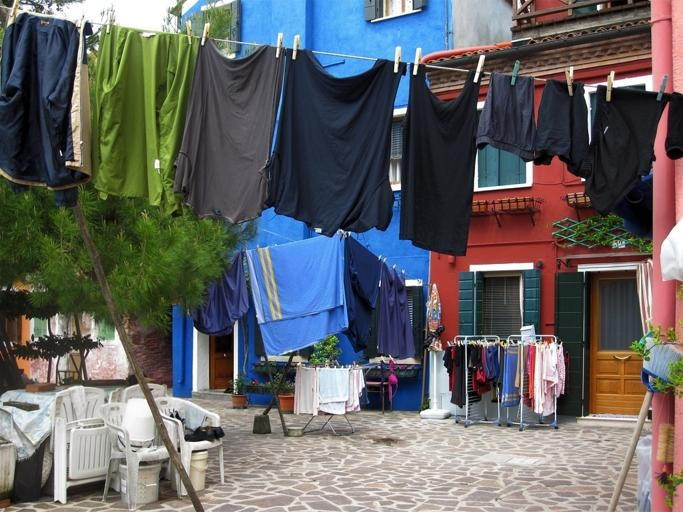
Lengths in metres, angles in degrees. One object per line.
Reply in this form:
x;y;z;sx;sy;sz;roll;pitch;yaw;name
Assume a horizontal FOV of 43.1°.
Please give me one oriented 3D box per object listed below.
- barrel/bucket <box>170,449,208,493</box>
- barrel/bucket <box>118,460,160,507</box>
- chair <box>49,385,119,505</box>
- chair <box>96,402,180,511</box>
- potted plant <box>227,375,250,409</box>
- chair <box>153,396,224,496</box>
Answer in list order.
-1.945;2.781;11.120;0.404;0.549;0.450;0;-2;-10;barrel/bucket
-2.502;2.834;10.825;0.411;0.450;0.457;-3;-7;25;barrel/bucket
-3.260;2.465;10.962;0.771;1.734;1.059;-3;-3;29;chair
-2.695;2.528;10.952;1.017;1.779;0.988;-7;-10;40;chair
-2.176;3.032;18.997;0.434;0.988;0.454;-8;-11;39;potted plant
-1.991;2.522;11.668;0.948;1.569;0.970;-9;-9;40;chair
